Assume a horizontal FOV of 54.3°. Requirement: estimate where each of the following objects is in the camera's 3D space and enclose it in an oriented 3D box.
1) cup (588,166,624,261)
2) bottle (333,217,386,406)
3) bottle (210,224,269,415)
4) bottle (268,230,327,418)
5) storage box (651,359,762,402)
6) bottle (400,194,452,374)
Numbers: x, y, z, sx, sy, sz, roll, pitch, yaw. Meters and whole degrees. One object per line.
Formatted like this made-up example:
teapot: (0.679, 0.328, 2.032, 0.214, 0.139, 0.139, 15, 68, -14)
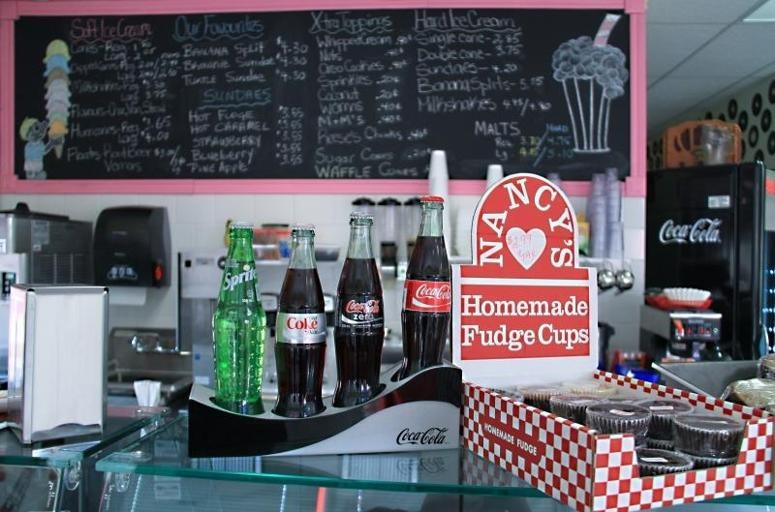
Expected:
cup: (1.331, -0.259, 4.591, 0.213, 0.540, 0.229, 2, 8, 0)
bottle: (-0.093, 0.184, 2.636, 0.173, 0.657, 0.216, 1, 8, -4)
bottle: (-0.513, 0.209, 2.603, 0.180, 0.638, 0.210, -1, 9, -22)
bottle: (-0.296, 0.219, 2.601, 0.175, 0.640, 0.189, 2, 8, 0)
storage box: (1.336, 0.476, 3.182, 0.443, 0.222, 0.415, 0, -4, 5)
bottle: (0.137, 0.114, 2.633, 0.159, 0.638, 0.142, 4, 9, 15)
